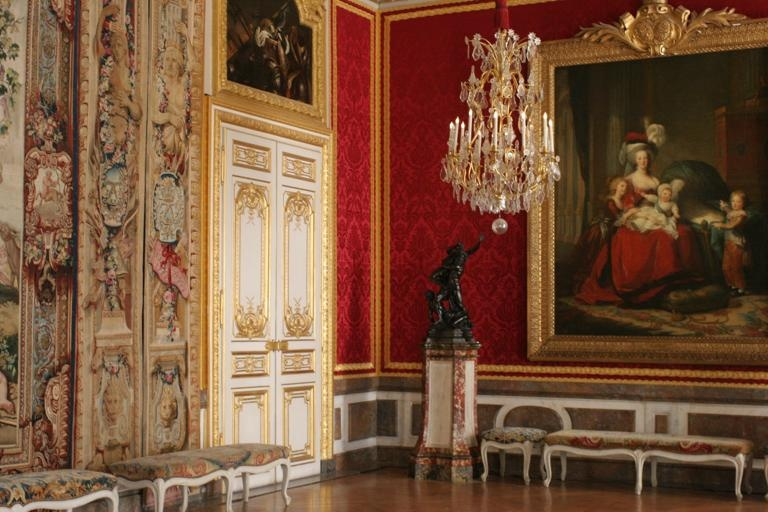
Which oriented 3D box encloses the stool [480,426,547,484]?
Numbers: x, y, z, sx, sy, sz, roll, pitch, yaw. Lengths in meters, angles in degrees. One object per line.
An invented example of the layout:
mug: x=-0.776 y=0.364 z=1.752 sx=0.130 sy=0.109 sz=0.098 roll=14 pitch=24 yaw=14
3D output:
stool: x=1.489 y=2.219 z=12.210 sx=0.660 sy=0.532 sz=0.654 roll=-4 pitch=-12 yaw=28

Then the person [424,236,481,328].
person: x=0.771 y=0.365 z=12.240 sx=0.610 sy=1.000 sz=0.341 roll=-5 pitch=-12 yaw=11
